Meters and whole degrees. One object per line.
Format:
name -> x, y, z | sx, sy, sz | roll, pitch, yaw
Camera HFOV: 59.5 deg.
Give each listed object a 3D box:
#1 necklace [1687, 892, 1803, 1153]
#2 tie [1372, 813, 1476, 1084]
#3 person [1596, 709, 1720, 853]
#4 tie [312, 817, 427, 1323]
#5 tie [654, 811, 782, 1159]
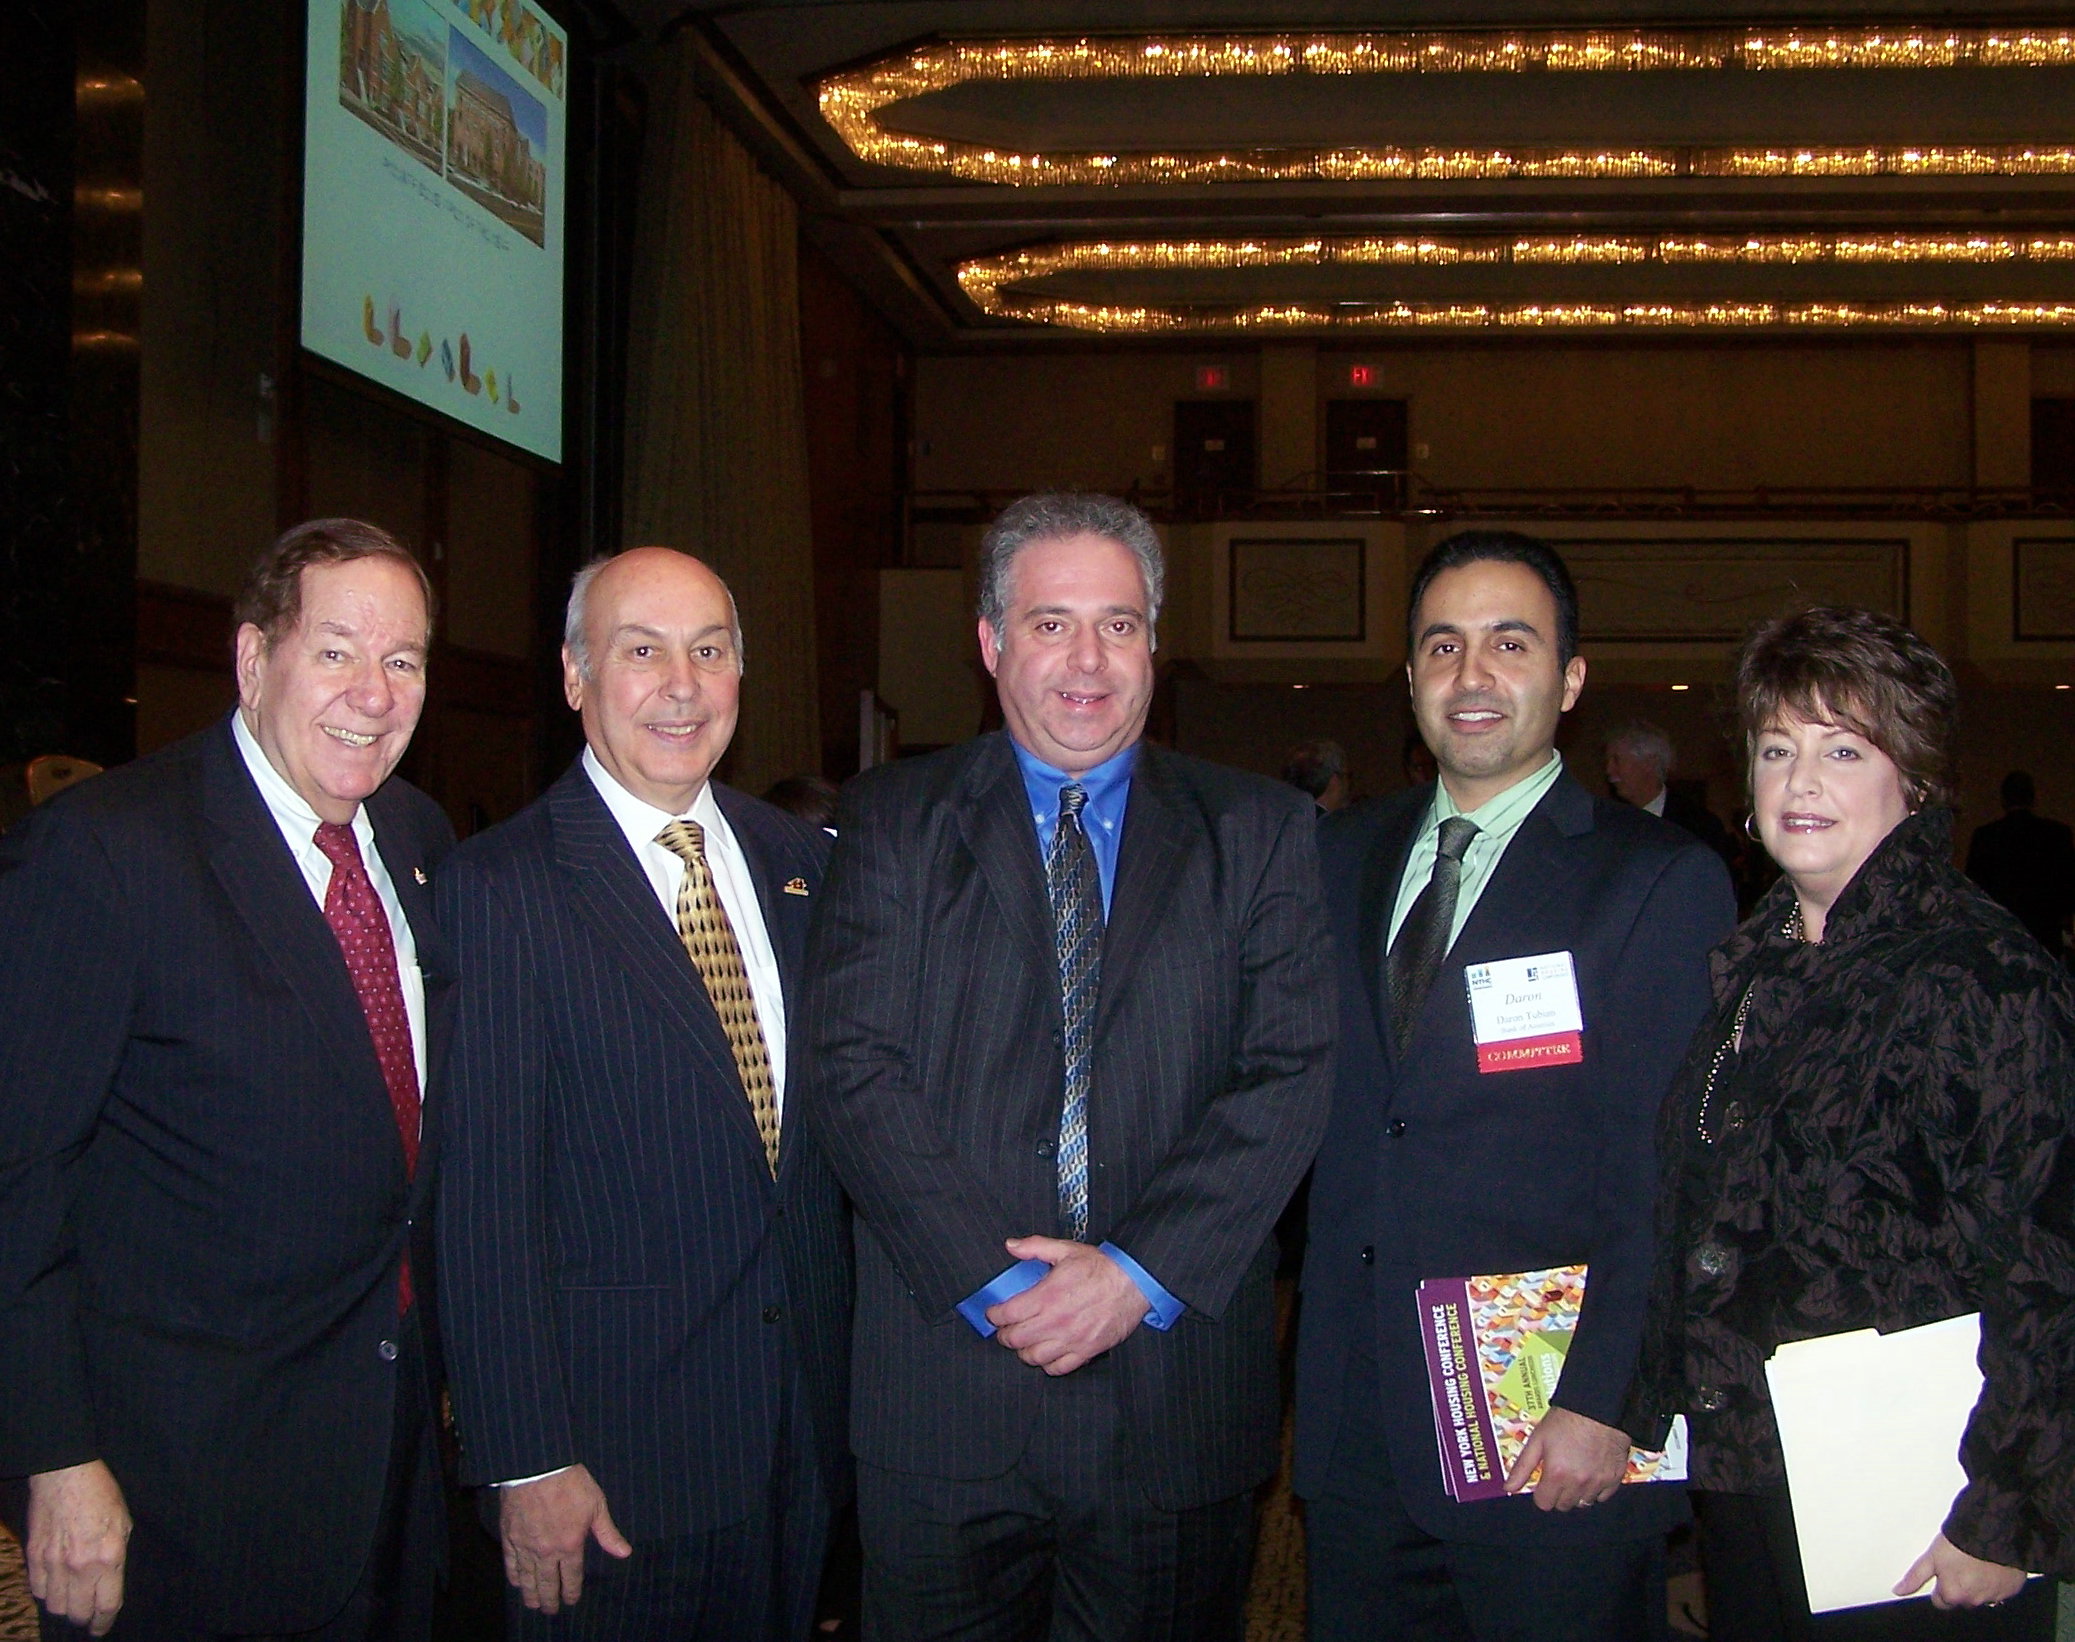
necklace -> 0.997, 0.300, 2.548 | 0.072, 0.289, 0.276 | 16, -28, 10
tie -> 0.588, 0.186, 2.788 | 0.080, 0.527, 0.062 | 1, -29, 35
person -> 2.868, -0.219, 8.284 | 0.466, 0.756, 0.949 | -2, 10, 17
tie -> -0.956, 0.258, 2.592 | 0.108, 0.870, 0.092 | 7, -27, -42
tie -> -0.468, 0.233, 2.753 | 0.104, 0.662, 0.072 | -18, -11, -10
